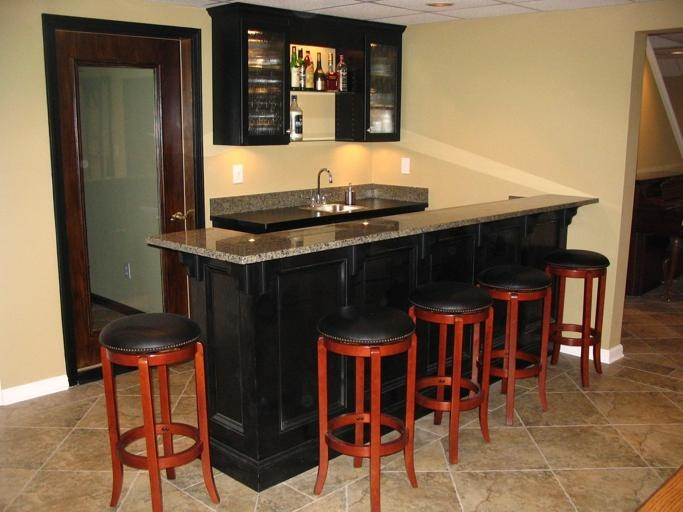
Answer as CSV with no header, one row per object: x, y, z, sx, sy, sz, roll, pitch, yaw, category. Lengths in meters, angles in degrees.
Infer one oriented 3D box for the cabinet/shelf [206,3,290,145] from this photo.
-0.727,-1.406,4.680,0.630,1.043,0.373,-2,16,-6,cabinet/shelf

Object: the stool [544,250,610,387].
1.821,0.416,4.648,0.476,0.949,0.820,6,17,24,stool

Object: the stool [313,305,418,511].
0.137,0.772,3.304,0.571,1.007,0.732,0,15,4,stool

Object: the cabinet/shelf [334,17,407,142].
0.256,-1.588,5.475,0.645,1.038,0.459,-1,16,0,cabinet/shelf

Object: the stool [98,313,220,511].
-0.978,0.809,3.141,0.560,1.007,0.523,-5,16,-16,stool

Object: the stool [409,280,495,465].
0.731,0.637,3.768,0.535,0.986,0.795,11,19,36,stool
